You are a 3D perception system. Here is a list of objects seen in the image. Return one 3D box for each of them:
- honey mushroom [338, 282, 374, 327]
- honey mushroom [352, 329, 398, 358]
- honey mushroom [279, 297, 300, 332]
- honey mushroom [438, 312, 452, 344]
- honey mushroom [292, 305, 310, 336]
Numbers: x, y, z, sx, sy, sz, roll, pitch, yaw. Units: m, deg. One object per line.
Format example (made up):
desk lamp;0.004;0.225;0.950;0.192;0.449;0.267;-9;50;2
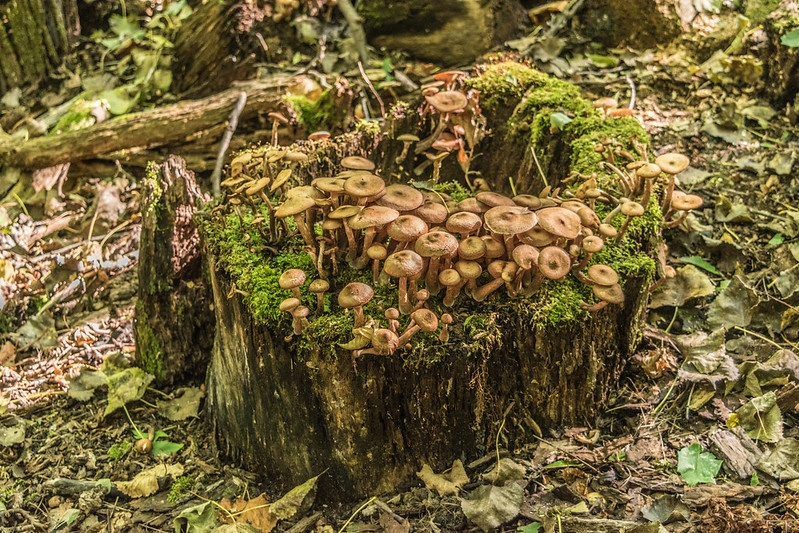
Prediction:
honey mushroom;-0.419;0.370;7.969;0.345;0.401;0.318;-4;26;-5
honey mushroom;-0.230;0.759;7.898;0.450;0.342;0.127;-2;26;-1
honey mushroom;-1.034;0.494;8.044;0.259;0.374;0.169;-2;26;-1
honey mushroom;0.443;0.611;7.997;0.169;0.363;0.175;3;23;-1
honey mushroom;-0.971;0.529;8.019;0.205;0.318;0.214;-8;45;-14
